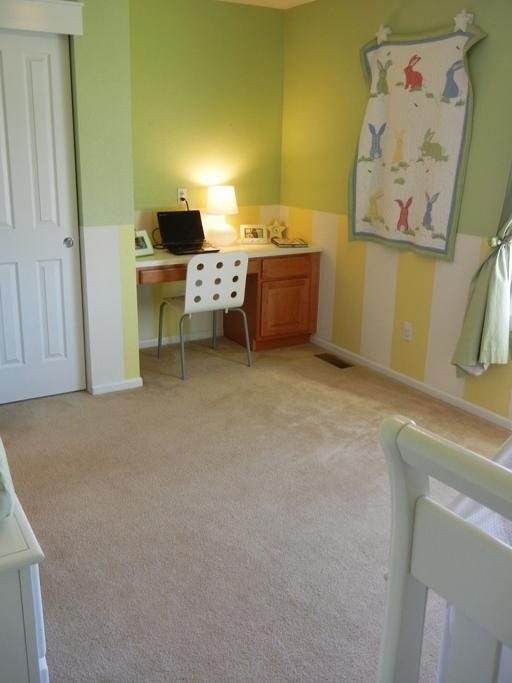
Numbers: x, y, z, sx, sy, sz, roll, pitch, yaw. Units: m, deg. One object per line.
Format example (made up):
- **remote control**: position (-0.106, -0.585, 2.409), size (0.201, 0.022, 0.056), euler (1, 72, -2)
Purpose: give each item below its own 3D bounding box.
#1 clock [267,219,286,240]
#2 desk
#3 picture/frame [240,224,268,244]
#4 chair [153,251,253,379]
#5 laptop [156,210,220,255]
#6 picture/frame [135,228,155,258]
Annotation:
- **clock**: position (0.168, -0.939, 4.346), size (0.200, 0.196, 0.029), euler (17, -33, -20)
- **desk**: position (-0.274, -0.322, 4.030), size (1.490, 0.808, 0.546), euler (-10, 20, -28)
- **picture/frame**: position (-0.020, -0.869, 4.186), size (0.170, 0.155, 0.024), euler (1, -10, -10)
- **chair**: position (-0.370, -0.257, 3.646), size (0.544, 0.891, 0.543), euler (-9, 24, -27)
- **laptop**: position (-0.517, -0.808, 3.795), size (0.361, 0.285, 0.490), euler (-7, 18, -20)
- **picture/frame**: position (-0.769, -0.672, 3.555), size (0.117, 0.162, 0.197), euler (-3, 17, -10)
